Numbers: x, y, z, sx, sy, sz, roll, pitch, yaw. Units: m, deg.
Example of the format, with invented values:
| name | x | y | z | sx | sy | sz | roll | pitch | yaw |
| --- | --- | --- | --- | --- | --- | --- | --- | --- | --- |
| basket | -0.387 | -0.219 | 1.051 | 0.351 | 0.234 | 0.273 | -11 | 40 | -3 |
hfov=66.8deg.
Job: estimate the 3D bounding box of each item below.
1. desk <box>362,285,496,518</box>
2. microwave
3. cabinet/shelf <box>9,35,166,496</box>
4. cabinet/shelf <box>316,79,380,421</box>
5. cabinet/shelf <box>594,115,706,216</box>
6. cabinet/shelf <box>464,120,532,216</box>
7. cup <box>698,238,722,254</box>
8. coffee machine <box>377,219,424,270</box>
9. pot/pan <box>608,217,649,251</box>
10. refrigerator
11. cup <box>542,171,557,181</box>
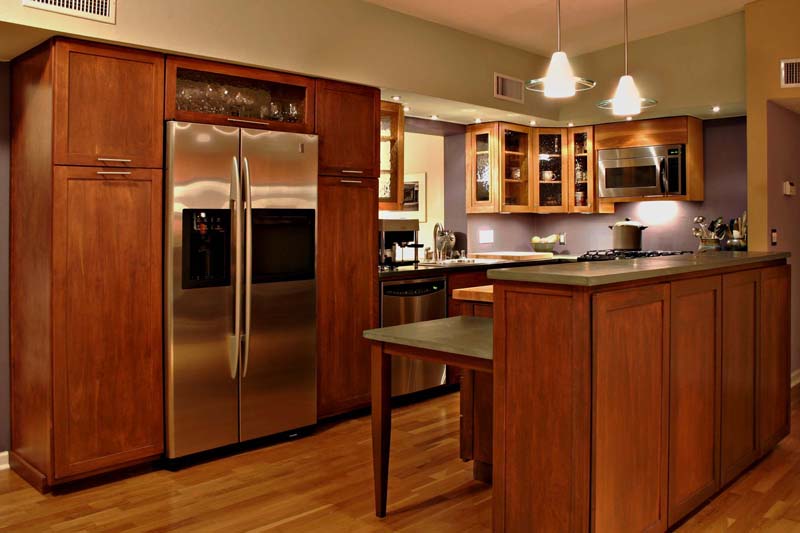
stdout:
| name | x | y | z | sx | sy | sz | roll | pitch | yaw |
| --- | --- | --- | --- | --- | --- | --- | --- | --- | --- |
| desk | 0.191 | 0.851 | 3.643 | 0.750 | 0.648 | 0.627 | 1 | -17 | 5 |
| microwave | 2.597 | -1.026 | 6.877 | 0.995 | 0.578 | 0.554 | -4 | 8 | -5 |
| cabinet/shelf | -2.235 | -0.001 | 4.136 | 1.121 | 2.947 | 0.843 | 1 | 11 | 7 |
| cabinet/shelf | -0.366 | -0.165 | 5.266 | 0.664 | 2.680 | 0.420 | 5 | 6 | 24 |
| cabinet/shelf | 2.826 | -1.144 | 6.862 | 0.528 | 0.942 | 1.094 | -15 | 14 | -40 |
| cabinet/shelf | 1.139 | -1.105 | 6.827 | 0.774 | 0.992 | 0.448 | -1 | 11 | 0 |
| cup | 2.756 | -0.179 | 5.389 | 0.201 | 0.114 | 0.186 | 0 | 2 | 0 |
| coffee machine | -0.041 | -0.185 | 6.207 | 0.591 | 0.481 | 0.537 | -2 | -7 | -29 |
| pot/pan | 2.624 | -0.335 | 6.908 | 0.506 | 0.344 | 0.309 | 0 | 5 | 15 |
| refrigerator | -1.175 | 0.133 | 4.462 | 1.163 | 2.326 | 0.494 | -5 | 12 | -21 |
| cup | 1.748 | -1.047 | 7.060 | 0.178 | 0.116 | 0.073 | -6 | 12 | -27 |
